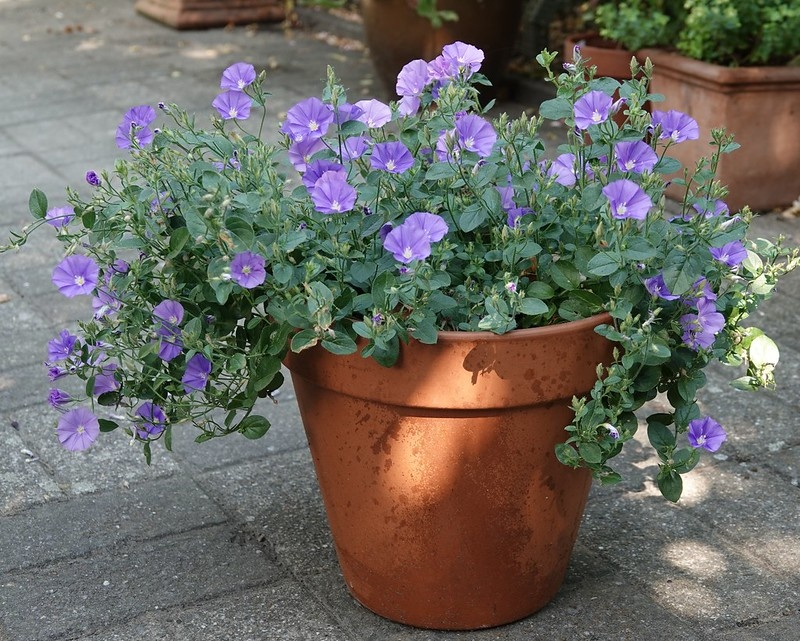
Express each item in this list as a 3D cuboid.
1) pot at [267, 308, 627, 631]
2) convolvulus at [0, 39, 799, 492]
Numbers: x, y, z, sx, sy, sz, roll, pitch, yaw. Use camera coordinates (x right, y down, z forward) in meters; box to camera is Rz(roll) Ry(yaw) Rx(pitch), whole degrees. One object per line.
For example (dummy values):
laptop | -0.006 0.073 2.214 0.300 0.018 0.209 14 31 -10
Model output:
pot | 0.131 0.292 2.037 0.781 0.654 0.802 1 8 0
convolvulus | 0.014 -0.016 1.838 1.511 1.039 0.716 9 29 14
